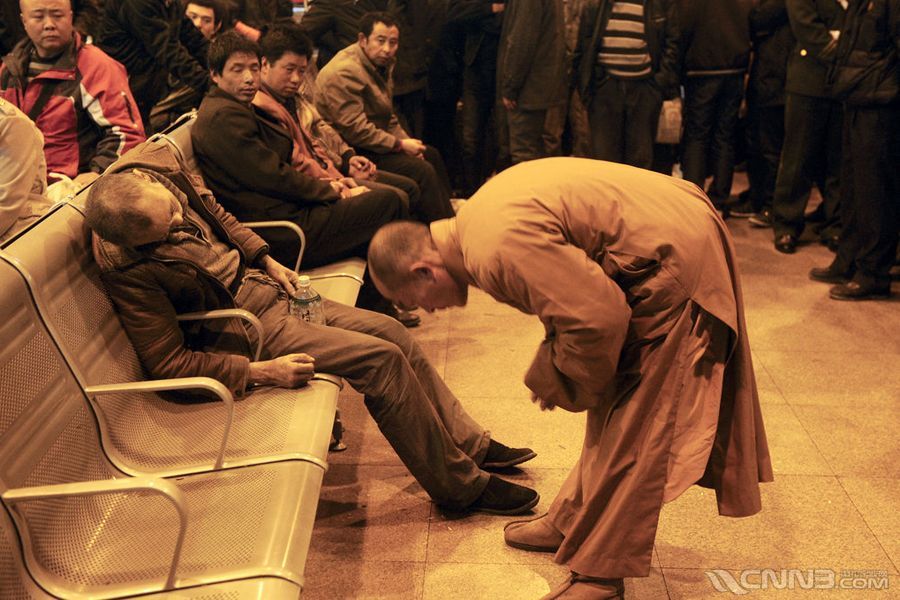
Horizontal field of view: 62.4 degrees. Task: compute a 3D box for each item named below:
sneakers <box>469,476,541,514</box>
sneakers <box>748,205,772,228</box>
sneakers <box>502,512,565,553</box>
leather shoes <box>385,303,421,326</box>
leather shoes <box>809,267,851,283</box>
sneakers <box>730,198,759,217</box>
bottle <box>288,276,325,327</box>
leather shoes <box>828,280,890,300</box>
[{"bbox_3d":[0.270,0.940,3.626,0.328,0.156,0.155,-1,16,14],"label":"sneakers"},{"bbox_3d":[2.791,-0.720,6.653,0.234,0.110,0.097,6,18,16],"label":"sneakers"},{"bbox_3d":[0.384,1.057,3.444,0.262,0.123,0.141,7,6,10],"label":"sneakers"},{"bbox_3d":[-0.285,0.092,4.337,0.185,0.138,0.068,4,40,5],"label":"leather shoes"},{"bbox_3d":[2.846,-0.196,5.589,0.277,0.149,0.113,6,26,17],"label":"leather shoes"},{"bbox_3d":[2.739,-0.850,6.985,0.272,0.202,0.122,7,12,21],"label":"sneakers"},{"bbox_3d":[-0.740,0.044,3.675,0.168,0.265,0.173,-9,6,1],"label":"bottle"},{"bbox_3d":[2.915,-0.083,5.375,0.397,0.198,0.160,2,15,3],"label":"leather shoes"}]
